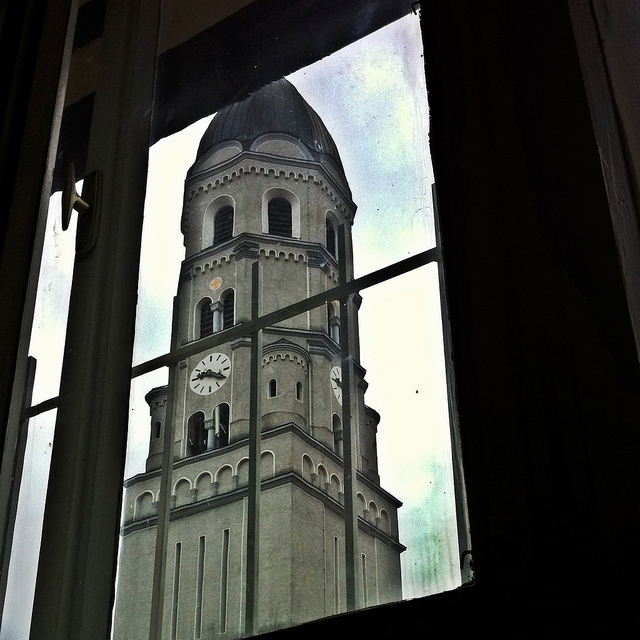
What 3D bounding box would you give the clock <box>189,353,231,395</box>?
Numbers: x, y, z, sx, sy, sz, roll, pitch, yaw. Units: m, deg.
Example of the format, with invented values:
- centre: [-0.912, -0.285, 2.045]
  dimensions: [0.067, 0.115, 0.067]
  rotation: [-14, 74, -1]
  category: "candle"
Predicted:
- centre: [-0.332, 0.165, 2.280]
  dimensions: [0.135, 0.022, 0.159]
  rotation: [-15, -52, -33]
  category: "clock"
